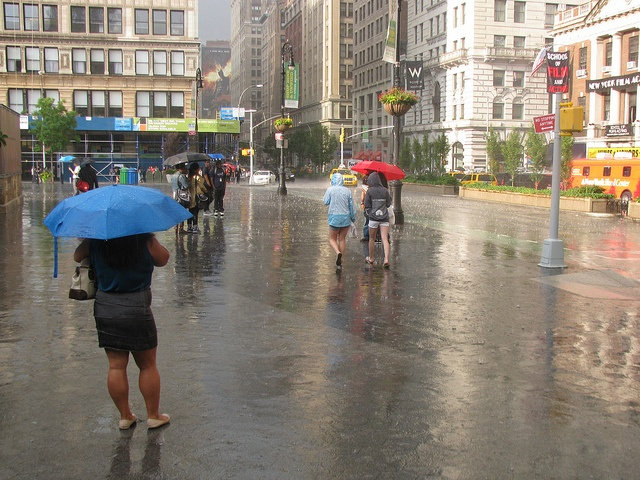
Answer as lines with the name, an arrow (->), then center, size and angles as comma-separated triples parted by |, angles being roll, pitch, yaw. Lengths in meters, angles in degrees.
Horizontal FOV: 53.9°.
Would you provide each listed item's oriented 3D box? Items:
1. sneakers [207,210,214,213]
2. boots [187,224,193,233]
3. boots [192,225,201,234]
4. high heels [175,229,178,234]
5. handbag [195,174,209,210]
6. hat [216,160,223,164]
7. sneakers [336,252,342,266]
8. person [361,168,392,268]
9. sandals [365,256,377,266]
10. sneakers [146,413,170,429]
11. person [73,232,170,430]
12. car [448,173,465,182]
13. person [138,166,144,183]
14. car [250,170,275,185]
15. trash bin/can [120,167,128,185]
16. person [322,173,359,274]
sneakers -> -4.441, -1.140, 25.103 | 0.115, 0.170, 0.351 | -2, -1, -34
boots -> -3.932, -0.353, 19.200 | 0.202, 0.267, 0.211 | 2, -8, -29
boots -> -3.785, -0.335, 19.439 | 0.256, 0.266, 0.758 | -1, 9, -9
high heels -> -4.385, -0.264, 19.299 | 0.108, 0.138, 0.119 | 1, 4, 7
handbag -> -3.905, -1.584, 20.625 | 0.366, 1.295, 0.471 | 8, 43, 6
hat -> -3.685, -2.828, 22.985 | 0.158, 0.192, 0.204 | 11, 26, 27
sneakers -> 0.410, 0.420, 13.747 | 0.100, 0.295, 0.119 | 3, -2, -10
person -> 1.300, -0.487, 14.359 | 0.599, 2.036, 1.381 | 1, 8, 7
sandals -> 1.146, 0.486, 14.345 | 0.156, 0.134, 0.343 | -2, 5, -4
sneakers -> -1.594, 1.775, 6.163 | 0.102, 0.094, 0.202 | 5, 11, 27
person -> -1.958, 0.648, 6.271 | 0.781, 2.457, 0.783 | -1, 11, -10
car -> 12.029, -5.562, 55.244 | 1.131, 1.020, 2.228 | 4, 14, 17
person -> -18.027, -6.629, 63.305 | 0.605, 1.429, 2.425 | -2, 9, -16
car -> -5.697, -6.303, 63.171 | 2.217, 1.306, 6.951 | 0, 9, -5
trash bin/can -> -18.859, -6.223, 60.536 | 0.692, 1.352, 1.446 | -3, 9, -24
person -> 0.429, -0.482, 14.109 | 0.655, 2.074, 1.507 | 1, 8, 2
